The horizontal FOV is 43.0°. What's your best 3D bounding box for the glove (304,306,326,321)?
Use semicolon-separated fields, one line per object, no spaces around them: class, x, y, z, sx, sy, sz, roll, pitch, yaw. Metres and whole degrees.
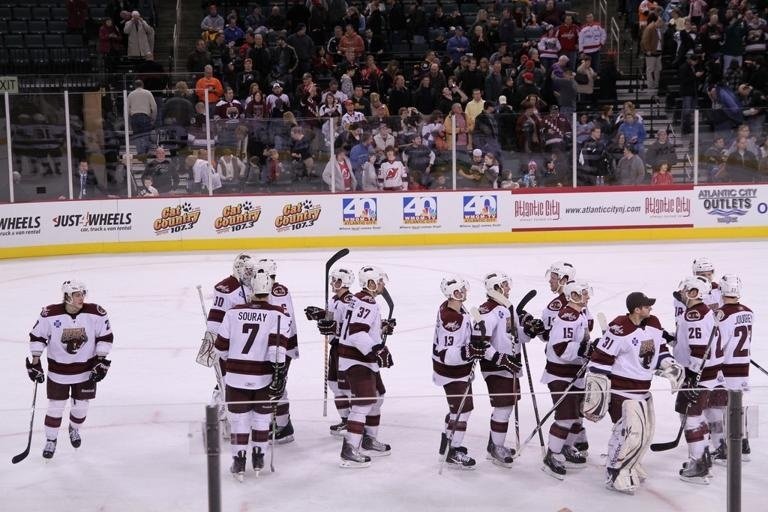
glove;-0.822;0.687;11.665;0.179;0.095;0.205;0;5;-34

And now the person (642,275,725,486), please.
person;3.324;1.359;10.864;0.793;2.202;0.762;1;-1;7

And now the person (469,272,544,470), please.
person;1.346;1.290;11.173;0.770;2.093;0.731;2;-1;-13

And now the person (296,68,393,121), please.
person;-0.834;-3.404;21.163;1.777;0.695;1.343;3;12;14

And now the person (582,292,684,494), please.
person;2.726;1.458;10.950;1.093;2.136;1.122;2;-1;4

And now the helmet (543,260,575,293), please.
helmet;2.069;0.253;11.660;0.392;0.409;0.331;7;-4;6

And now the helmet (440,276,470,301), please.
helmet;0.834;0.362;11.219;0.306;0.280;0.248;-22;16;-4

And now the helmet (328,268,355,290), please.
helmet;-0.495;0.280;11.669;0.261;0.205;0.211;9;8;23

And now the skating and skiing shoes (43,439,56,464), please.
skating and skiing shoes;-3.788;2.200;11.041;0.099;0.098;0.248;3;23;-10

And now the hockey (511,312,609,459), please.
hockey;2.009;1.520;11.130;0.221;1.968;0.149;38;0;-32

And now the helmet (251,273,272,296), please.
helmet;-1.383;0.322;10.959;0.202;0.249;0.261;0;16;-10

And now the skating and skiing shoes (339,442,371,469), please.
skating and skiing shoes;-0.346;2.237;10.924;0.381;0.262;0.201;0;0;5

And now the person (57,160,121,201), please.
person;-6.074;-1.554;19.999;1.047;0.776;0.261;-2;4;-18

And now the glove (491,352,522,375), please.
glove;1.378;1.203;10.959;0.323;0.202;0.116;12;-4;-7

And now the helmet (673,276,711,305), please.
helmet;3.505;0.387;11.117;0.352;0.322;0.296;21;21;37

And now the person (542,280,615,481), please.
person;2.211;1.385;11.168;0.846;2.140;0.858;0;-3;20

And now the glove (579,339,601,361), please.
glove;2.324;1.036;11.022;0.211;0.268;0.107;0;-24;37

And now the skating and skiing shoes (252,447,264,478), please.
skating and skiing shoes;-1.383;2.254;10.726;0.125;0.287;0.172;-1;4;-8

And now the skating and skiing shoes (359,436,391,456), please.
skating and skiing shoes;-0.109;2.187;11.218;0.337;0.221;0.173;0;2;2

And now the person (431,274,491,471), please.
person;0.895;1.355;11.255;0.700;2.086;0.910;1;4;13

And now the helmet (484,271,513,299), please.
helmet;1.321;0.329;11.339;0.301;0.273;0.244;-3;9;4

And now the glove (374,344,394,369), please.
glove;-0.006;1.151;11.270;0.213;0.270;0.105;1;21;15

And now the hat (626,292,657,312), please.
hat;2.808;0.510;10.708;0.266;0.221;0.357;0;4;18

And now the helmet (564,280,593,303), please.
helmet;2.209;0.405;11.109;0.301;0.224;0.225;-4;8;7

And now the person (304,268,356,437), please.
person;-0.666;1.199;11.826;0.648;2.032;0.609;1;10;2

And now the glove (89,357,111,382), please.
glove;-3.364;1.351;11.530;0.221;0.296;0.298;15;-8;-26

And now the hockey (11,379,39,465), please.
hockey;-4.105;1.936;11.009;0.305;1.036;0.325;6;-4;-6

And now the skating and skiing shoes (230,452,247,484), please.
skating and skiing shoes;-1.576;2.281;10.582;0.110;0.212;0.317;0;13;-11

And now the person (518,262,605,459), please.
person;2.038;1.185;11.560;0.930;2.227;0.796;3;0;5

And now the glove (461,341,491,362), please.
glove;1.044;1.073;11.018;0.285;0.258;0.371;1;4;23

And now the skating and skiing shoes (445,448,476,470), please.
skating and skiing shoes;0.843;2.264;10.868;0.458;0.287;0.152;0;5;0

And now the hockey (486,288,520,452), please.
hockey;1.381;1.216;11.140;0.474;1.769;0.384;3;0;-15

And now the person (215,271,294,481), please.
person;-1.491;1.328;11.071;0.811;2.228;0.929;3;-3;-5

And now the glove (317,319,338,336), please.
glove;-0.670;0.846;11.542;0.214;0.193;0.111;-1;4;-13

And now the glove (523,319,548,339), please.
glove;1.725;0.836;11.281;0.197;0.110;0.256;12;9;-10

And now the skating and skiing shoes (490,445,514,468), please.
skating and skiing shoes;1.316;2.244;11.047;0.276;0.248;0.220;-1;3;3

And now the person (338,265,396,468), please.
person;-0.235;1.287;11.442;0.669;2.222;0.877;1;-2;6

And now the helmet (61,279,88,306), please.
helmet;-3.570;0.420;11.428;0.286;0.260;0.225;-5;0;16

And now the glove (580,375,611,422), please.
glove;2.292;1.530;10.539;0.330;0.504;0.123;3;-7;10

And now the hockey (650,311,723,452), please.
hockey;3.410;1.506;10.942;0.386;0.383;2.750;0;47;34

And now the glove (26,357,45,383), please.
glove;-4.068;1.325;11.403;0.227;0.311;0.114;-5;2;-1

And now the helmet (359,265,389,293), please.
helmet;-0.115;0.272;11.525;0.331;0.301;0.260;-5;16;-8

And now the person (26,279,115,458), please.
person;-3.709;1.318;11.580;0.997;2.004;0.809;5;4;-32

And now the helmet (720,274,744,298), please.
helmet;4.005;0.353;11.278;0.213;0.250;0.266;5;10;10

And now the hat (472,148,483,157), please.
hat;1.950;-2.162;20.481;0.187;0.147;0.134;1;32;17

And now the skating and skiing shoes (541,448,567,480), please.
skating and skiing shoes;1.951;2.308;10.784;0.144;0.295;0.435;1;3;-30

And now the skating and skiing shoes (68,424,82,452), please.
skating and skiing shoes;-3.540;2.070;11.203;0.114;0.336;0.133;-9;-25;-20

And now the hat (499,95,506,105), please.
hat;2.508;-3.288;20.663;0.155;0.133;0.265;-1;3;3
